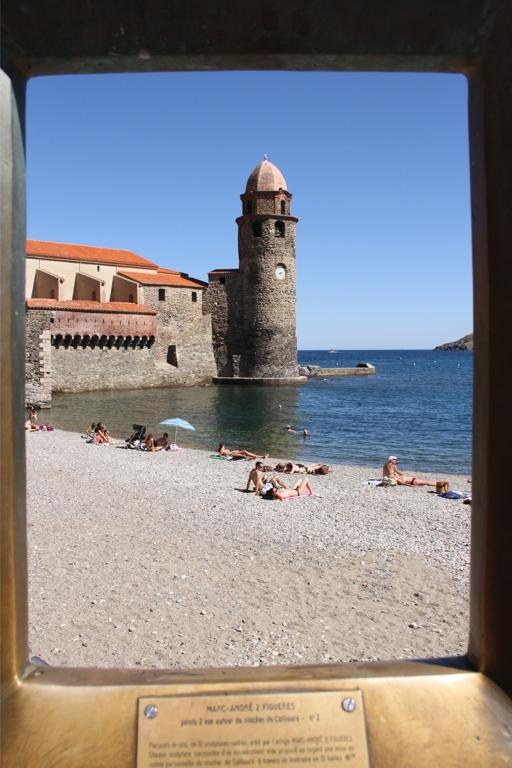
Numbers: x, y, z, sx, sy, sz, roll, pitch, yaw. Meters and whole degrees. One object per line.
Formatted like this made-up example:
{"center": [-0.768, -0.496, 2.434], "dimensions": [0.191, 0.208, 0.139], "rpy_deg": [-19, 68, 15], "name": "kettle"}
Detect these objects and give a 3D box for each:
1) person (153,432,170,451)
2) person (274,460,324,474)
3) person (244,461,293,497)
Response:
{"center": [-2.468, 1.550, 16.895], "dimensions": [0.366, 0.510, 0.836], "rpy_deg": [-2, -2, 3], "name": "person"}
{"center": [0.975, 1.774, 13.392], "dimensions": [0.729, 0.216, 0.396], "rpy_deg": [2, -1, 4], "name": "person"}
{"center": [0.243, 1.643, 10.926], "dimensions": [0.780, 0.547, 0.358], "rpy_deg": [-7, 12, -40], "name": "person"}
